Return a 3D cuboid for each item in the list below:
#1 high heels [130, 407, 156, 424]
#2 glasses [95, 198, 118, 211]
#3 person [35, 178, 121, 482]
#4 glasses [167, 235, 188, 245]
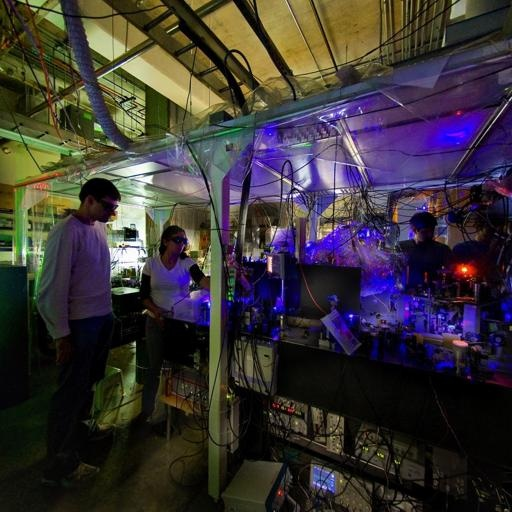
[{"bbox_3d":[-0.963,1.375,3.904,0.187,0.082,0.139,1,-4,-21],"label":"high heels"},{"bbox_3d":[-1.078,-0.369,3.347,0.089,0.032,0.074,34,4,36],"label":"glasses"},{"bbox_3d":[-1.303,0.529,3.351,0.568,2.171,0.394,2,-2,-37],"label":"person"},{"bbox_3d":[-0.658,-0.132,3.838,0.169,0.089,0.116,2,-2,-16],"label":"glasses"}]
